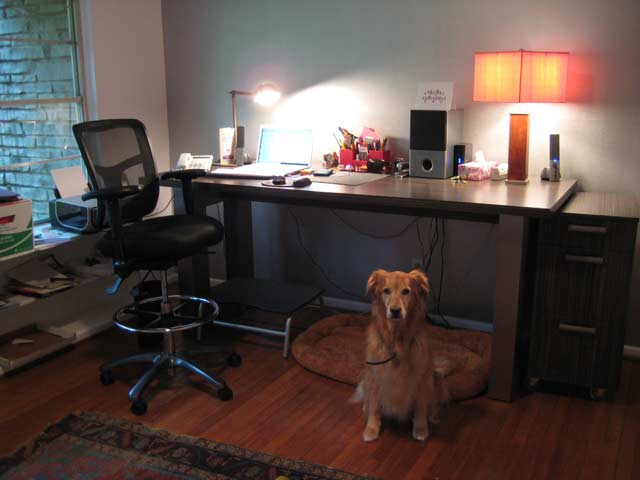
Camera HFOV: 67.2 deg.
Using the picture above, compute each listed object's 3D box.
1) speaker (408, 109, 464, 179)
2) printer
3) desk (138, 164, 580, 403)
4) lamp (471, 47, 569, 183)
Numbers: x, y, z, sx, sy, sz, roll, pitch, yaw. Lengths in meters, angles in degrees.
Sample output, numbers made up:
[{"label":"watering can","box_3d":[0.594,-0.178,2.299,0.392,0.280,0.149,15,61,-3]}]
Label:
[{"label":"speaker","box_3d":[0.654,-0.599,2.842,0.197,0.398,0.303,5,25,18]},{"label":"printer","box_3d":[-1.245,-0.215,2.665,0.401,0.444,0.273,11,19,23]},{"label":"desk","box_3d":[0.171,0.051,2.918,2.045,1.037,0.924,7,21,12]},{"label":"lamp","box_3d":[1.112,-0.674,2.650,0.449,0.669,0.465,4,15,8]}]
